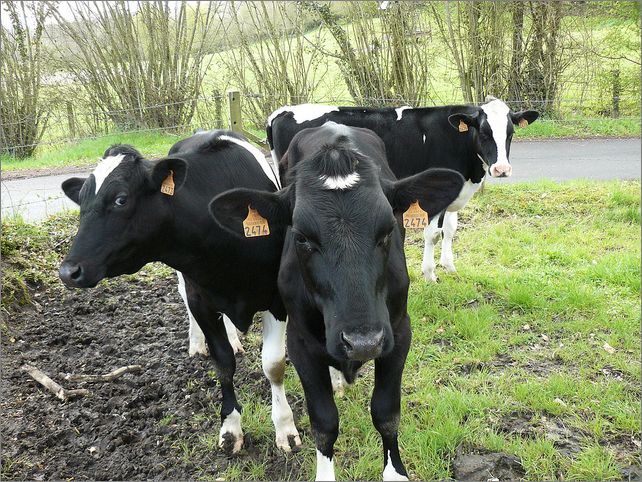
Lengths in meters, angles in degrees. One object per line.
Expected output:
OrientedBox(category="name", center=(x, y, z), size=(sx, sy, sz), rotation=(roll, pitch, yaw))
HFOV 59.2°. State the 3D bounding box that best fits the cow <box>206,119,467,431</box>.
OrientedBox(category="cow", center=(0.247, 0.420, 5.007), size=(1.613, 2.761, 1.414), rotation=(6, 15, 35))
